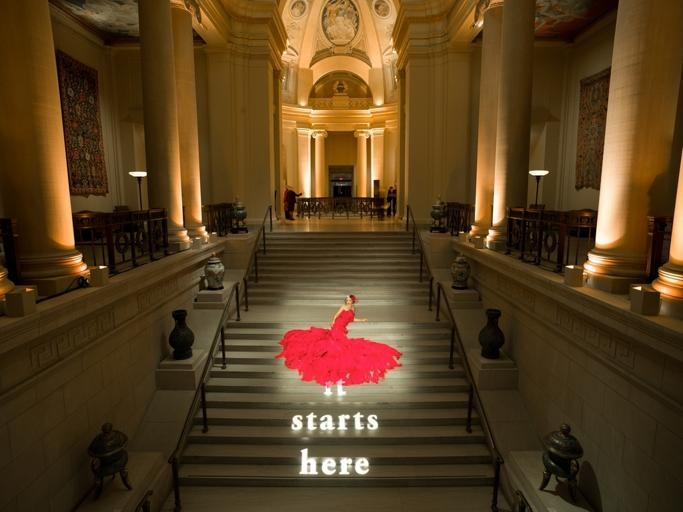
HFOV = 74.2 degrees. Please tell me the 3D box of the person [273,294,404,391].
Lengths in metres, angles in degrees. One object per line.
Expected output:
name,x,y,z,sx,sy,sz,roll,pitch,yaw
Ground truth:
person,-0.033,1.515,8.118,2.123,1.196,1.184,1,10,7
